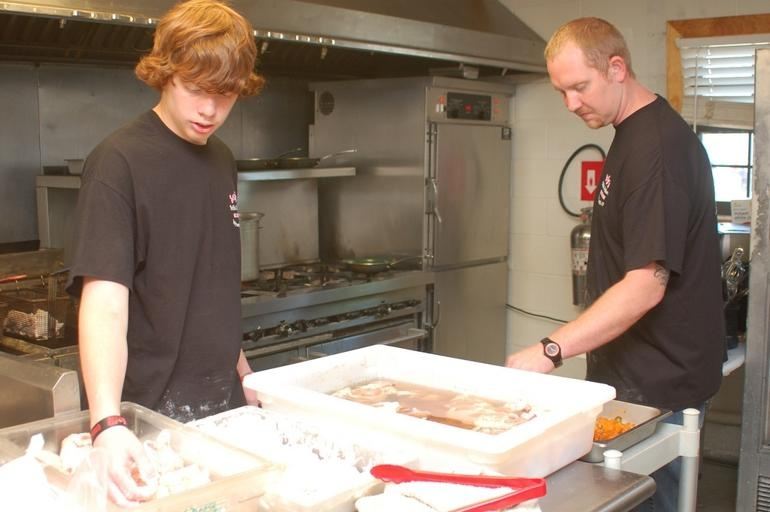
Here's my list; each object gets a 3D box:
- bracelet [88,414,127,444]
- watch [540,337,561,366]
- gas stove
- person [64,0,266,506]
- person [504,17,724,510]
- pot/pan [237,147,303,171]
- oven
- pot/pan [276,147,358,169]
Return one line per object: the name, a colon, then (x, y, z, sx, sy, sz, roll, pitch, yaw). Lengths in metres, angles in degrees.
bracelet: (-0.626, 0.378, 1.403, 0.067, 0.026, 0.066, -34, -12, 19)
watch: (0.527, 0.307, 1.976, 0.044, 0.057, 0.068, -20, 51, -14)
gas stove: (-0.305, 0.287, 3.532, 1.322, 0.468, 0.491, -4, 6, -37)
person: (-0.525, -0.075, 1.599, 0.518, 1.168, 0.759, -2, 5, -26)
person: (0.857, -0.123, 2.127, 0.779, 1.422, 0.427, 0, 4, 1)
pot/pan: (-0.634, -0.545, 3.455, 0.339, 0.105, 0.216, -2, 4, -11)
oven: (0.169, -0.118, 4.452, 1.208, 2.122, 1.261, 7, 9, 38)
pot/pan: (-0.404, -0.564, 3.589, 0.399, 0.051, 0.210, -10, 8, -24)
